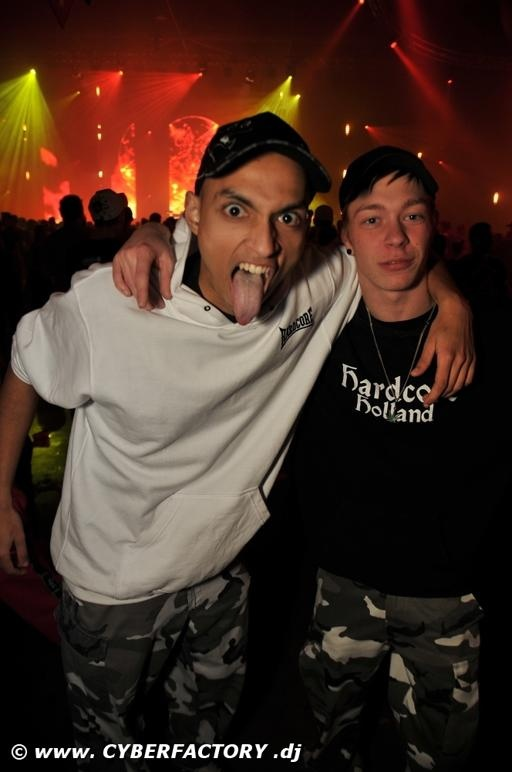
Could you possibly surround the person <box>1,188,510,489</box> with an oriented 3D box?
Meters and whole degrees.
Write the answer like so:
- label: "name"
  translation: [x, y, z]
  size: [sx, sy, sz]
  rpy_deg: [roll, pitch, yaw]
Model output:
- label: "person"
  translation: [0.181, -0.266, 1.820]
  size: [0.969, 0.936, 0.306]
  rpy_deg: [4, 11, 4]
